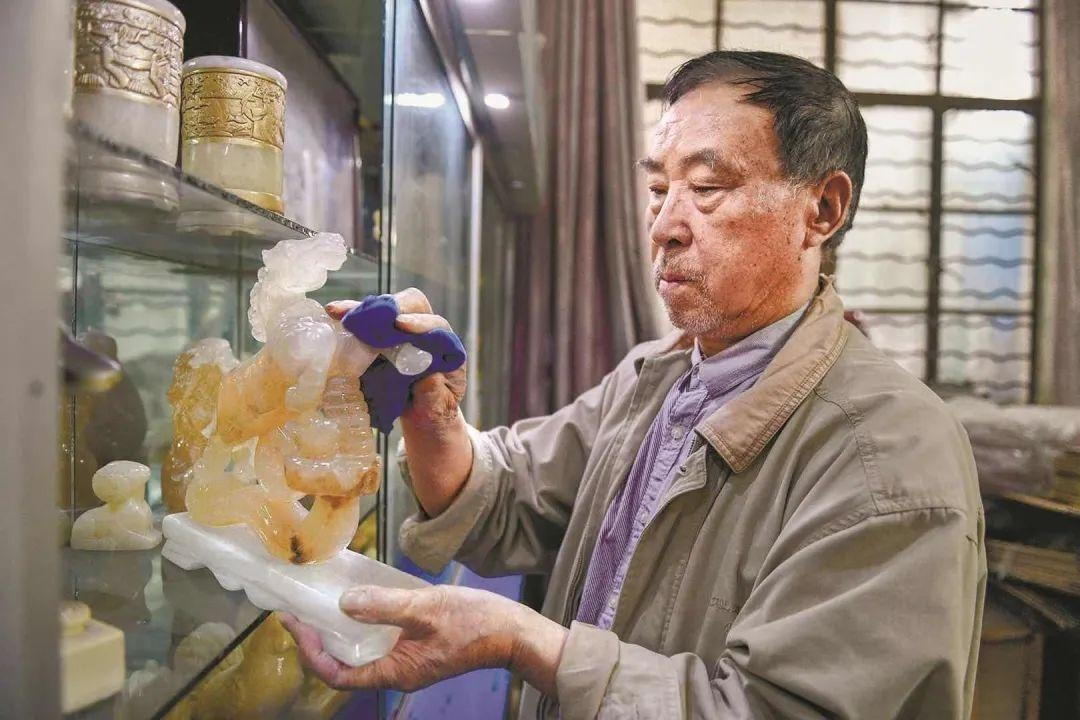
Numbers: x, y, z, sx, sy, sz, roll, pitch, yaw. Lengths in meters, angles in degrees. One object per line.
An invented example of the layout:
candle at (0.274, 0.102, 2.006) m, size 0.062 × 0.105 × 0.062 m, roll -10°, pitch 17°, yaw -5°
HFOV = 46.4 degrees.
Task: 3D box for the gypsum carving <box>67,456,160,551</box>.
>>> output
gypsum carving at (-0.819, 0.283, 2.453) m, size 0.170 × 0.195 × 0.122 m, roll -1°, pitch 5°, yaw -16°

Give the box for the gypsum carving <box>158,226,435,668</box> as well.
gypsum carving at (-0.481, 0.166, 2.456) m, size 0.482 × 0.681 × 0.209 m, roll 1°, pitch -1°, yaw 19°

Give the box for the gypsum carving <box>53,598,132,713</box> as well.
gypsum carving at (-0.772, 0.499, 2.184) m, size 0.147 × 0.176 × 0.158 m, roll -1°, pitch -2°, yaw 30°

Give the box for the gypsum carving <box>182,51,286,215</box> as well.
gypsum carving at (-0.567, -0.419, 2.513) m, size 0.247 × 0.295 × 0.263 m, roll 2°, pitch -6°, yaw -4°

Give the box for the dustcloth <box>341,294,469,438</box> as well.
dustcloth at (-0.279, 0.000, 2.457) m, size 0.236 × 0.254 × 0.075 m, roll -10°, pitch 37°, yaw -14°
